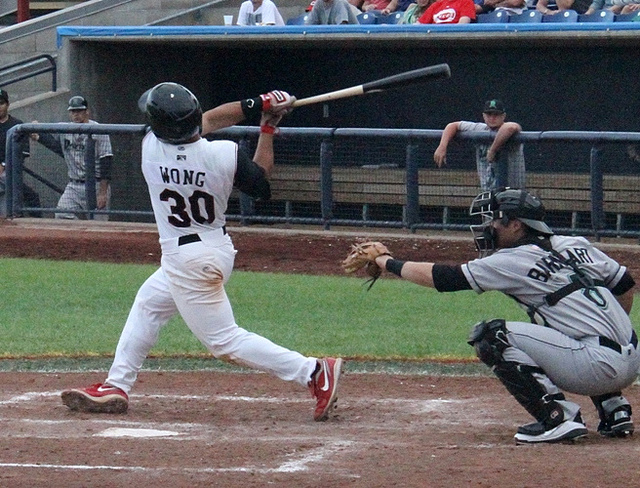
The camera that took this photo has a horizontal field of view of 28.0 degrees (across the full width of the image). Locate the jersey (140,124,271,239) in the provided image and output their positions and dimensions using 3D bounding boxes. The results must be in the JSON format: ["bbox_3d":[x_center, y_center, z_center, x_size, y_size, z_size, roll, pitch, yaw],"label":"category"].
[{"bbox_3d":[-0.802,-0.442,9.076,0.892,0.810,0.295,1,3,-5],"label":"jersey"}]

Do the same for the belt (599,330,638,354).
[{"bbox_3d":[2.047,0.660,8.763,0.314,0.141,0.072,-1,3,-29],"label":"belt"}]

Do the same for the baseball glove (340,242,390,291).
[{"bbox_3d":[0.308,0.137,9.288,0.431,0.313,0.285,-6,-8,13],"label":"baseball glove"}]

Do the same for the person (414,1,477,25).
[{"bbox_3d":[1.564,-2.802,15.572,0.790,0.249,0.383,3,25,22],"label":"person"}]

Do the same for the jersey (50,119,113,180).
[{"bbox_3d":[-2.833,-1.119,15.231,0.858,0.605,0.354,5,27,11],"label":"jersey"}]

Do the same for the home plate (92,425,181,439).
[{"bbox_3d":[-1.264,1.293,8.904,0.574,0.049,0.244,0,2,-6],"label":"home plate"}]

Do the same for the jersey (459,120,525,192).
[{"bbox_3d":[1.913,-0.831,13.758,0.555,0.496,0.282,2,2,19],"label":"jersey"}]

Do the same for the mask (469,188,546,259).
[{"bbox_3d":[1.311,-0.137,9.027,0.590,0.415,0.403,3,-14,-3],"label":"mask"}]

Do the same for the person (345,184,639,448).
[{"bbox_3d":[1.354,0.485,8.811,1.679,1.734,0.430,1,3,2],"label":"person"}]
